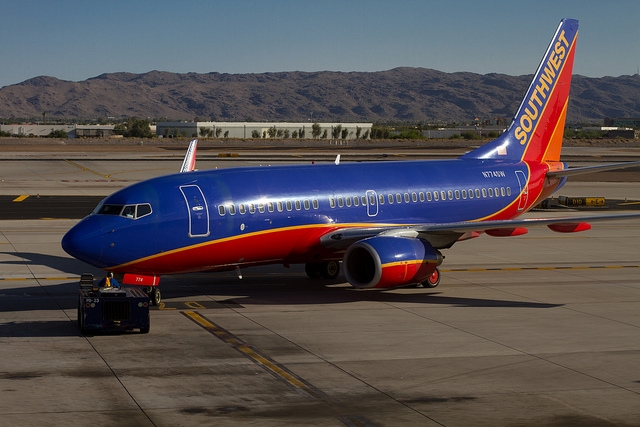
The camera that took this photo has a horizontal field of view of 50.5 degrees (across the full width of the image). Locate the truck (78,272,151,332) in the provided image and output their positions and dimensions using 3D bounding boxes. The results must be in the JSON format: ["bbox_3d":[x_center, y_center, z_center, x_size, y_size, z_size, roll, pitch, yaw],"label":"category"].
[{"bbox_3d":[-8.043,3.641,26.640,2.695,2.017,1.826,3,7,-13],"label":"truck"}]
